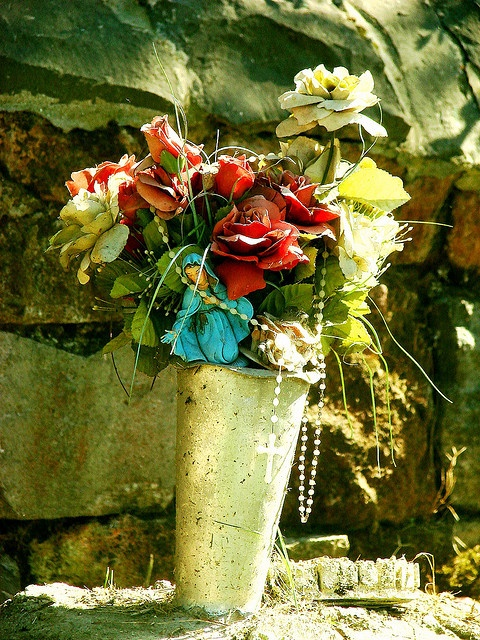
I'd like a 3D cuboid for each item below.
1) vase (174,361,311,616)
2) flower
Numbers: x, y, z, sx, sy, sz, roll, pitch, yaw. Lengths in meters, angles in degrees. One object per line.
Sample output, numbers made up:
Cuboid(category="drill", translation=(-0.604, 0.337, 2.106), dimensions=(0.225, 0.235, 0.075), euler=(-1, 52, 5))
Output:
Cuboid(category="vase", translation=(-0.016, 0.274, 3.393), dimensions=(0.212, 0.366, 0.238), euler=(8, 33, -1))
Cuboid(category="flower", translation=(0.038, -0.147, 3.617), dimensions=(0.583, 0.626, 0.614), euler=(22, 26, 0))
